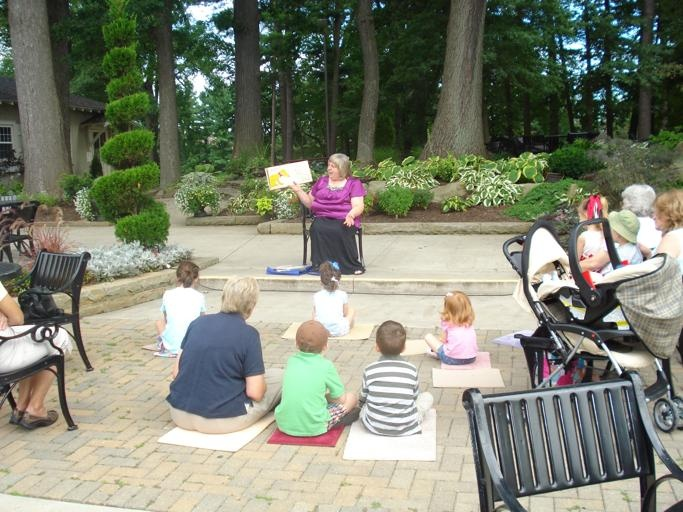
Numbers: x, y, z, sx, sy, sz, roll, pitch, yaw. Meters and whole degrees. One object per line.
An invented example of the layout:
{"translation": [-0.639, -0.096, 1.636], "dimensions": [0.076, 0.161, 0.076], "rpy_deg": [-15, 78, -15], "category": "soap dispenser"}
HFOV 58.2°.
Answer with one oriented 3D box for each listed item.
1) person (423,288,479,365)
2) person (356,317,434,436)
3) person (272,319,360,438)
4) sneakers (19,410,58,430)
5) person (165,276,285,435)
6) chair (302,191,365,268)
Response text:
{"translation": [1.016, 0.649, 5.867], "dimensions": [0.614, 0.759, 0.620], "rpy_deg": [-1, 8, -9], "category": "person"}
{"translation": [0.393, 0.874, 4.838], "dimensions": [0.824, 0.982, 0.744], "rpy_deg": [1, 9, 9], "category": "person"}
{"translation": [-0.192, 1.013, 4.960], "dimensions": [0.674, 0.755, 0.544], "rpy_deg": [10, 19, 22], "category": "person"}
{"translation": [-2.403, 1.304, 4.882], "dimensions": [0.104, 0.101, 0.265], "rpy_deg": [5, 5, 34], "category": "sneakers"}
{"translation": [-0.841, 0.757, 5.037], "dimensions": [1.100, 1.143, 1.134], "rpy_deg": [6, 6, -27], "category": "person"}
{"translation": [-0.066, -0.361, 8.885], "dimensions": [0.779, 1.157, 0.534], "rpy_deg": [-1, 14, 11], "category": "chair"}
